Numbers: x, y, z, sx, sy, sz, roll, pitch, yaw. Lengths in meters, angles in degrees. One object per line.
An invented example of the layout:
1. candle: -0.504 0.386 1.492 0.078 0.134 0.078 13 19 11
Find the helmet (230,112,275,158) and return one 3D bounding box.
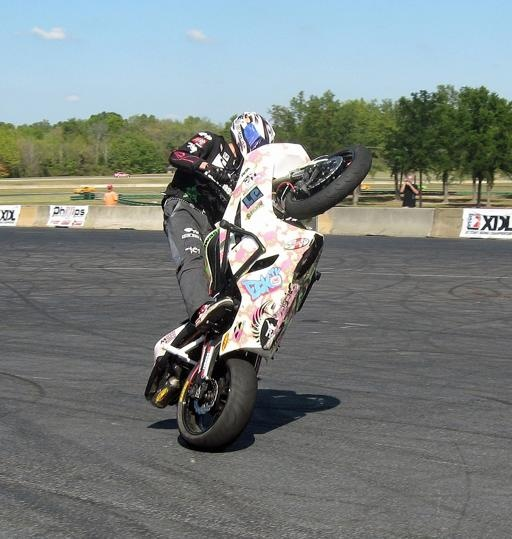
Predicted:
1. helmet: 0.016 -0.886 3.784 0.269 0.210 0.296 -3 14 -18

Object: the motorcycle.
1. motorcycle: 0.026 0.145 3.395 0.922 1.754 0.670 -1 6 -21

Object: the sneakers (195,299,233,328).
1. sneakers: -0.253 0.240 3.294 0.144 0.180 0.252 -4 6 -40
